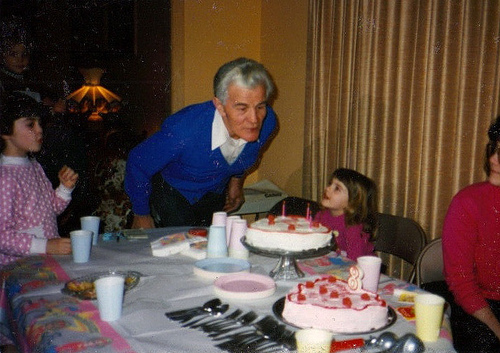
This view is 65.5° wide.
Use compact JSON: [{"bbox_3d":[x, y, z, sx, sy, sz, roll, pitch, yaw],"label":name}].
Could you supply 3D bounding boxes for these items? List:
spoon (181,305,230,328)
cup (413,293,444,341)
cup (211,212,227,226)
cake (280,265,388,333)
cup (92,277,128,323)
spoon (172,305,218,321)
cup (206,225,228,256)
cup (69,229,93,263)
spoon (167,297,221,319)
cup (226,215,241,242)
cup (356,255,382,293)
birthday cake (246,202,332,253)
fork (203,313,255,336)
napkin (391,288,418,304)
[{"bbox_3d":[-0.143,0.431,1.238,0.157,0.019,0.045,-15,20,-33],"label":"spoon"},{"bbox_3d":[0.521,0.408,1.139,0.102,0.123,0.110,0,-1,0],"label":"cup"},{"bbox_3d":[-0.146,0.198,1.827,0.058,0.056,0.059,-1,8,0],"label":"cup"},{"bbox_3d":[0.269,0.375,1.251,0.347,0.124,0.264,-1,12,-7],"label":"cake"},{"bbox_3d":[-0.443,0.393,1.262,0.114,0.127,0.112,-1,-1,0],"label":"cup"},{"bbox_3d":[-0.182,0.438,1.232,0.160,0.026,0.043,-8,12,-19],"label":"spoon"},{"bbox_3d":[-0.136,0.270,1.610,0.110,0.156,0.105,2,4,0],"label":"cup"},{"bbox_3d":[-0.711,0.298,1.620,0.099,0.111,0.101,-9,-23,-4],"label":"cup"},{"bbox_3d":[-0.178,0.426,1.271,0.174,0.051,0.053,-11,9,-12],"label":"spoon"},{"bbox_3d":[-0.077,0.237,1.784,0.079,0.131,0.080,3,8,0],"label":"cup"},{"bbox_3d":[0.415,0.336,1.394,0.111,0.164,0.107,0,8,0],"label":"cup"},{"bbox_3d":[0.168,0.214,1.608,0.325,0.125,0.297,-10,16,-41],"label":"birthday cake"},{"bbox_3d":[-0.059,0.454,1.186,0.167,0.035,0.046,-20,26,-9],"label":"fork"},{"bbox_3d":[0.536,0.412,1.328,0.063,0.017,0.069,4,20,10],"label":"napkin"}]
